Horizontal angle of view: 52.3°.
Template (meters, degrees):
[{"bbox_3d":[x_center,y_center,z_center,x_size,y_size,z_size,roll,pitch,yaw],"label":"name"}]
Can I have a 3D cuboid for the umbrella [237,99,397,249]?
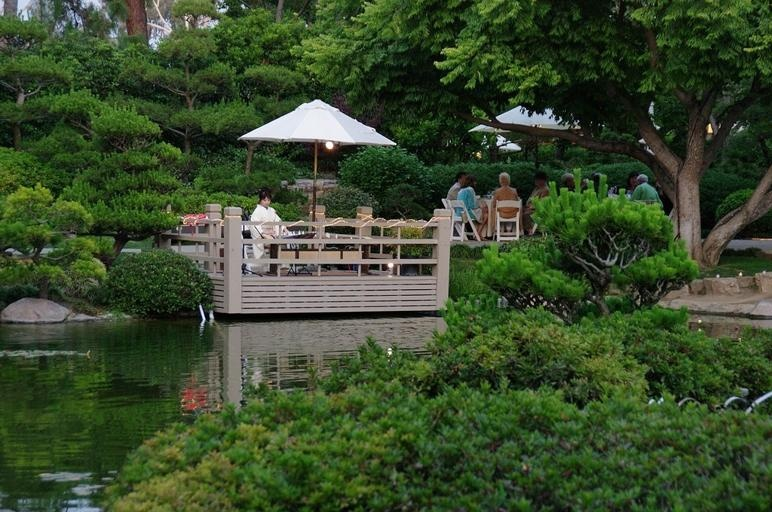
[{"bbox_3d":[-1.681,-2.107,18.206,3.012,2.339,3.194,5,9,8],"label":"umbrella"}]

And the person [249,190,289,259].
[{"bbox_3d":[-2.528,-0.742,17.619,0.937,1.562,0.726,-22,-18,32],"label":"person"}]

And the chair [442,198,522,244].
[{"bbox_3d":[2.518,-1.045,22.203,2.546,1.391,0.932,-5,8,-34],"label":"chair"}]

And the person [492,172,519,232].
[{"bbox_3d":[3.387,-1.689,21.988,0.755,1.345,1.457,2,8,8],"label":"person"}]
